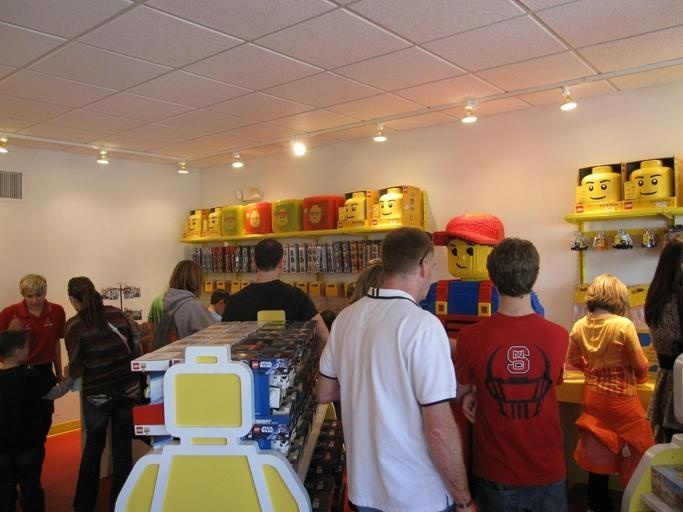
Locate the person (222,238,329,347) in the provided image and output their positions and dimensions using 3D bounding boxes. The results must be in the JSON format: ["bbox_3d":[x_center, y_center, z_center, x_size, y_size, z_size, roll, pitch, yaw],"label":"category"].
[{"bbox_3d":[-0.490,0.239,3.574,0.766,0.734,0.437,0,9,-12],"label":"person"}]

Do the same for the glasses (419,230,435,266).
[{"bbox_3d":[0.422,-0.048,2.419,0.035,0.126,0.120,6,-8,-29],"label":"glasses"}]

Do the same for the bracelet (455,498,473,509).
[{"bbox_3d":[0.526,1.061,2.222,0.066,0.018,0.067,-9,-3,4],"label":"bracelet"}]
